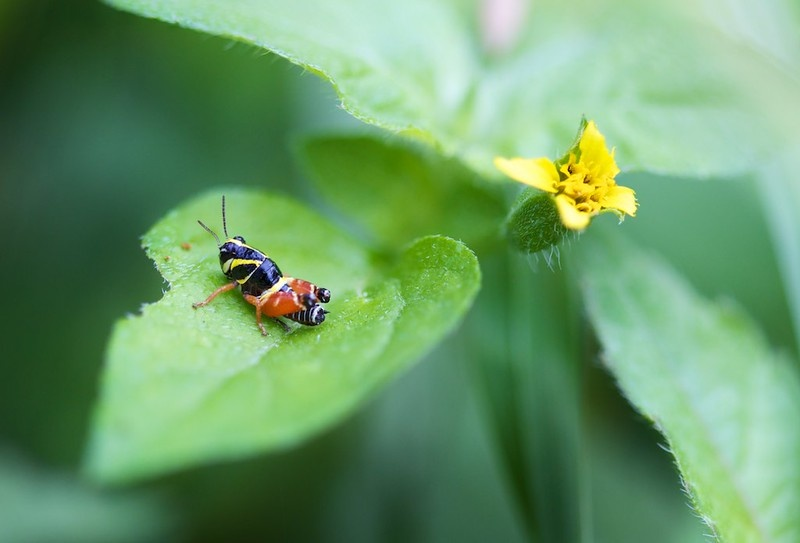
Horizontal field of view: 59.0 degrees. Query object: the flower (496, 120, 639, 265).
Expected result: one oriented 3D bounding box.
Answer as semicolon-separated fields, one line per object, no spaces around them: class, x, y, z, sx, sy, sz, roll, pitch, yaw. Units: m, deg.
flower;0.581;-0.258;2.603;0.512;0.282;0.497;13;77;-17
